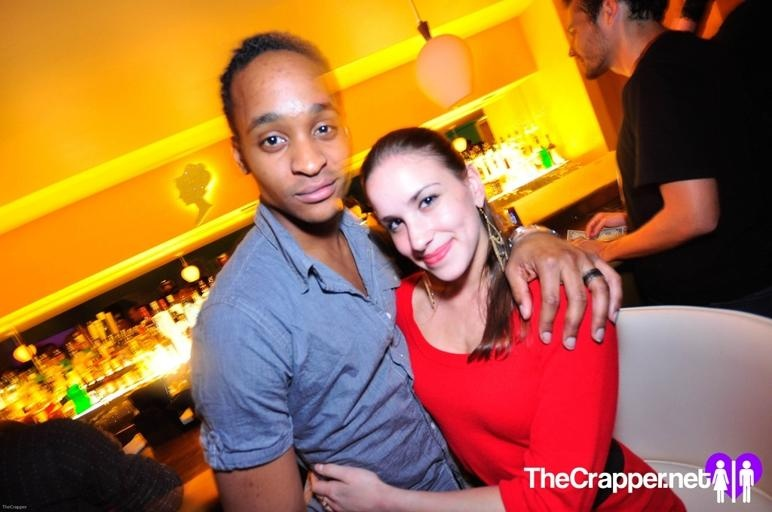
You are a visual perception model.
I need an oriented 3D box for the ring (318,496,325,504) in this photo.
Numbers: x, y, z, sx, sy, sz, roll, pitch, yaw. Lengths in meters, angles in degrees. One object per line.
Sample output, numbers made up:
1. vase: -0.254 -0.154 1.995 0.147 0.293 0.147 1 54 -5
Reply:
1. ring: -0.285 1.076 2.126 0.008 0.029 0.022 -30 21 -24
